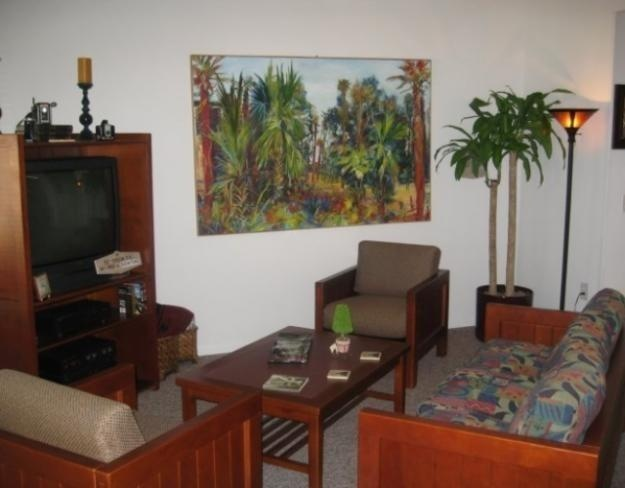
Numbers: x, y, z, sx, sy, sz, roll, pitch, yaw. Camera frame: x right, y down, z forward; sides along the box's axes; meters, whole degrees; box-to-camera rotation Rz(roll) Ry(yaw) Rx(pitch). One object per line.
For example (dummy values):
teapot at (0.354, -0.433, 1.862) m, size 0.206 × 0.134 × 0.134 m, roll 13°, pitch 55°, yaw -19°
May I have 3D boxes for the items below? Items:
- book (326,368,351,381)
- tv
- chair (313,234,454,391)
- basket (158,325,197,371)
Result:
book at (0.154, 0.765, 3.116) m, size 0.143 × 0.018 × 0.131 m, roll 0°, pitch 9°, yaw 4°
tv at (-1.600, -0.113, 3.787) m, size 0.772 × 0.891 × 0.561 m, roll -5°, pitch 1°, yaw 4°
chair at (0.689, 0.455, 4.616) m, size 1.009 × 1.338 × 1.112 m, roll 3°, pitch 4°, yaw 28°
basket at (-1.214, 0.905, 4.692) m, size 0.302 × 0.405 × 0.583 m, roll 0°, pitch -12°, yaw -22°
